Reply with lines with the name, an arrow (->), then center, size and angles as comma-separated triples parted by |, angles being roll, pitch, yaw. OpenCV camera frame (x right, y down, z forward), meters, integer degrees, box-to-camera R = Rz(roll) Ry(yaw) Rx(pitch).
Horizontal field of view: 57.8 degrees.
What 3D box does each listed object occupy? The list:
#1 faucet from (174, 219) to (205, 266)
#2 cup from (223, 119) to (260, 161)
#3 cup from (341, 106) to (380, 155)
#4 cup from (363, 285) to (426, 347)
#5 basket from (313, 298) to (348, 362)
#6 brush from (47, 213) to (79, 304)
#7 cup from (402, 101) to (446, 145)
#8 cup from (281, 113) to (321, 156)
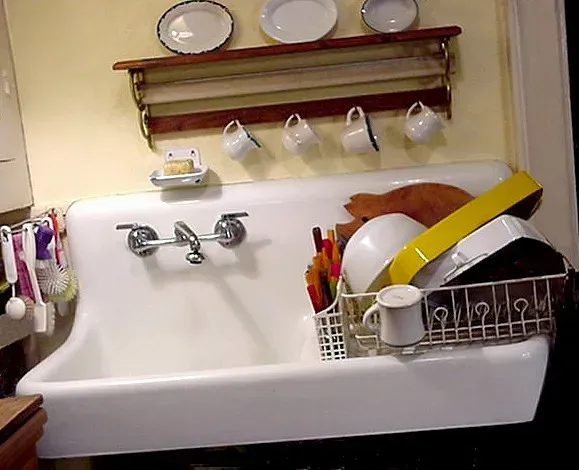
faucet -> -0.253, 0.007, 1.319 | 0.044, 0.064, 0.163 | -7, 32, -14
cup -> -0.133, -0.263, 1.426 | 0.098, 0.102, 0.122 | -12, 4, -2
cup -> 0.186, -0.260, 1.363 | 0.084, 0.138, 0.086 | 1, 2, 0
cup -> 0.192, 0.136, 0.934 | 0.111, 0.093, 0.079 | -2, 22, 16
basket -> 0.082, 0.189, 1.031 | 0.057, 0.101, 0.091 | -11, 4, 1
brush -> -0.642, 0.054, 1.448 | 0.081, 0.260, 0.082 | -12, -11, 22
cup -> 0.359, -0.299, 1.391 | 0.112, 0.082, 0.149 | -11, 4, 20
cup -> 0.032, -0.250, 1.403 | 0.083, 0.131, 0.079 | -7, -1, 0
